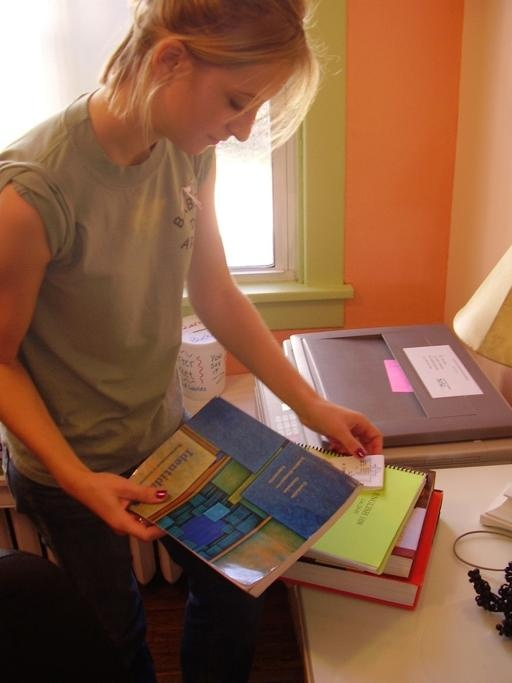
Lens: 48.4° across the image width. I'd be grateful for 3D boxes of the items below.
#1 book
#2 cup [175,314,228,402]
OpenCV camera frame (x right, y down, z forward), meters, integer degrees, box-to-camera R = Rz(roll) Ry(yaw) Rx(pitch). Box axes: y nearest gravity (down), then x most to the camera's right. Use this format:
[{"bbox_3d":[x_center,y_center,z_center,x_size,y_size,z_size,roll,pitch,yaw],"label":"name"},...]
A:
[{"bbox_3d":[0.032,0.214,0.713,0.334,0.086,0.276,9,38,23],"label":"book"},{"bbox_3d":[-0.093,0.058,1.513,0.198,0.215,0.191,0,43,0],"label":"cup"}]
